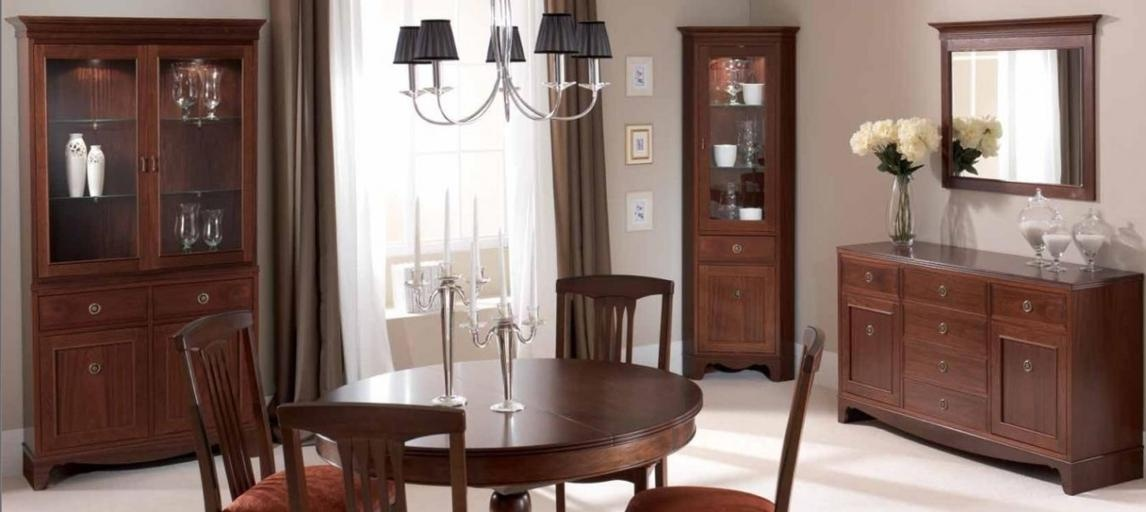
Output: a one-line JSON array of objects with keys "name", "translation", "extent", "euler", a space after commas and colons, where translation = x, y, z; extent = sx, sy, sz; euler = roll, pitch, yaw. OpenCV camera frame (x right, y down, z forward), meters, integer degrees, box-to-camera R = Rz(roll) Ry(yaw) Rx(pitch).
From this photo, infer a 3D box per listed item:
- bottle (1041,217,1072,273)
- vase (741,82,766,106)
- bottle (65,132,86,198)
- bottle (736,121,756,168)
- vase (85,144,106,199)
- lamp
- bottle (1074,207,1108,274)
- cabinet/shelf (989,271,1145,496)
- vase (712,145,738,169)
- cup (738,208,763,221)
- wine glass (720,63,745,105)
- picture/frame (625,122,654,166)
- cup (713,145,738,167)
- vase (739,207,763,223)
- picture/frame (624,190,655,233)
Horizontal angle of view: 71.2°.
[{"name": "bottle", "translation": [4.184, -0.114, 6.915], "extent": [0.283, 0.436, 0.206], "euler": [-10, 15, -31]}, {"name": "vase", "translation": [1.888, -1.681, 8.362], "extent": [0.256, 0.166, 0.233], "euler": [0, 0, -8]}, {"name": "bottle", "translation": [-4.257, -0.779, 6.879], "extent": [0.188, 0.538, 0.091], "euler": [-9, 15, -27]}, {"name": "bottle", "translation": [1.856, -1.169, 8.478], "extent": [0.252, 0.587, 0.224], "euler": [5, -20, 1]}, {"name": "vase", "translation": [-4.116, -0.732, 6.924], "extent": [0.163, 0.436, 0.077], "euler": [-9, 15, -29]}, {"name": "lamp", "translation": [-0.429, -1.714, 6.975], "extent": [1.973, 1.217, 2.780], "euler": [-3, 12, -7]}, {"name": "bottle", "translation": [4.479, -0.148, 6.933], "extent": [0.262, 0.498, 0.325], "euler": [9, 17, 39]}, {"name": "cabinet/shelf", "translation": [4.250, 1.064, 6.756], "extent": [1.290, 1.757, 0.559], "euler": [-1, 13, 4]}, {"name": "vase", "translation": [1.609, -1.037, 8.418], "extent": [0.270, 0.251, 0.248], "euler": [0, 1, -16]}, {"name": "cup", "translation": [1.884, -0.438, 8.417], "extent": [0.180, 0.106, 0.164], "euler": [0, 3, 0]}, {"name": "wine glass", "translation": [1.689, -1.815, 8.361], "extent": [0.195, 0.458, 0.083], "euler": [0, 13, 6]}, {"name": "picture/frame", "translation": [0.700, -1.199, 8.502], "extent": [0.530, 0.564, 0.049], "euler": [-2, 6, -25]}, {"name": "cup", "translation": [1.625, -1.060, 8.541], "extent": [0.261, 0.238, 0.240], "euler": [-1, 2, 0]}, {"name": "vase", "translation": [1.886, -0.432, 8.406], "extent": [0.185, 0.109, 0.167], "euler": [-1, 3, -11]}, {"name": "picture/frame", "translation": [0.706, -0.492, 8.560], "extent": [0.517, 0.577, 0.050], "euler": [-3, 4, -25]}]
